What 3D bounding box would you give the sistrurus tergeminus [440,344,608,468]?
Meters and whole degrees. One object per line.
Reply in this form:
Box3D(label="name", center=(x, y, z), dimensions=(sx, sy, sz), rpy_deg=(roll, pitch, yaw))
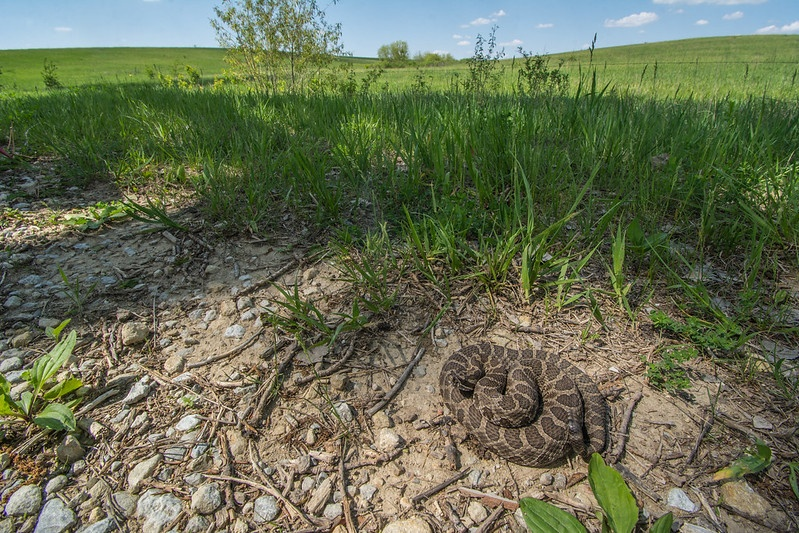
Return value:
Box3D(label="sistrurus tergeminus", center=(1.229, 1.354, 4.896), dimensions=(1.603, 0.657, 0.997), rpy_deg=(1, 32, 10))
